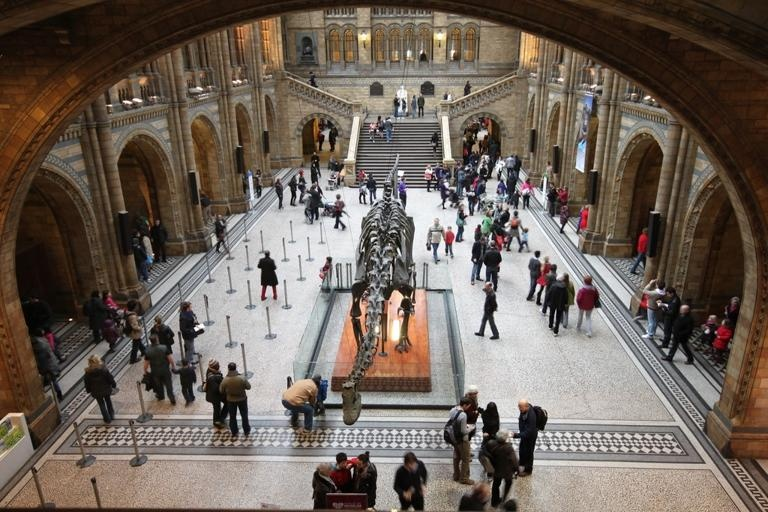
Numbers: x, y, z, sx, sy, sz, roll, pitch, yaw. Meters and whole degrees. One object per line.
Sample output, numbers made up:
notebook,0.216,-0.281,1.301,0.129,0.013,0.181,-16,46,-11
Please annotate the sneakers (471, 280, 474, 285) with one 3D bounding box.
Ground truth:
sneakers,3.006,0.888,16.327,0.134,0.122,0.300,-1,6,4

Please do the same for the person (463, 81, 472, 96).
person,5.843,-11.822,33.404,0.585,1.256,1.709,1,6,8

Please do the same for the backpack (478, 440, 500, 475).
backpack,1.814,3.671,8.527,0.250,0.660,0.508,-3,-11,17

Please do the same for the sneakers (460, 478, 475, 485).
sneakers,1.581,4.311,9.168,0.270,0.158,0.093,-4,26,-1

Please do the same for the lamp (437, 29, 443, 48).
lamp,4.029,-15.470,34.030,0.534,0.962,0.244,1,6,5

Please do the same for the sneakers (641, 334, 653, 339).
sneakers,7.274,2.223,13.237,0.267,0.102,0.096,-3,33,18

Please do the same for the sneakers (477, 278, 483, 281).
sneakers,3.316,0.809,16.531,0.233,0.087,0.172,-2,6,-24

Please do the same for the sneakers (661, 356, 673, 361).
sneakers,7.280,2.613,12.321,0.221,0.157,0.223,5,7,36

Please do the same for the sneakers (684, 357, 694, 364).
sneakers,7.773,2.673,12.198,0.208,0.191,0.102,4,21,28

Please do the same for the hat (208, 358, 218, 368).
hat,-3.636,2.262,10.166,0.166,0.169,0.378,-2,6,-21

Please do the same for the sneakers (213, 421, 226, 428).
sneakers,-3.634,3.729,10.539,0.293,0.205,0.101,-2,36,-13

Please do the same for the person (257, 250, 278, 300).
person,-3.712,0.595,15.334,0.552,1.625,1.243,-1,6,-13

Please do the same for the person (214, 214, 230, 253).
person,-6.432,-0.921,18.949,0.478,1.420,1.782,-2,6,-18

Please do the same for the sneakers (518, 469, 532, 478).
sneakers,2.761,4.262,9.379,0.240,0.216,0.116,1,36,-1

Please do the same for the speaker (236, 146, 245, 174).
speaker,-6.843,-4.575,22.552,0.283,1.219,0.427,1,6,1

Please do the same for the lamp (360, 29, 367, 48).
lamp,-1.411,-15.443,34.020,0.436,1.013,0.278,-1,6,-12

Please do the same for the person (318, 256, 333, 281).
person,-1.791,0.387,14.840,0.300,0.726,1.231,0,6,-8

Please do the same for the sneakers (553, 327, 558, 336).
sneakers,4.831,2.153,13.491,0.076,0.142,0.217,1,12,6

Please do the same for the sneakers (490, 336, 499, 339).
sneakers,3.073,2.251,13.321,0.226,0.098,0.130,1,6,9

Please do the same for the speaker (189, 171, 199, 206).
speaker,-7.369,-2.633,18.425,0.262,1.285,0.385,1,6,5

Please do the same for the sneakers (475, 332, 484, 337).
sneakers,2.656,2.185,13.464,0.210,0.106,0.098,5,7,36

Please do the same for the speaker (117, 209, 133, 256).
speaker,-7.712,-0.677,14.207,0.360,1.305,0.363,-4,7,-33
